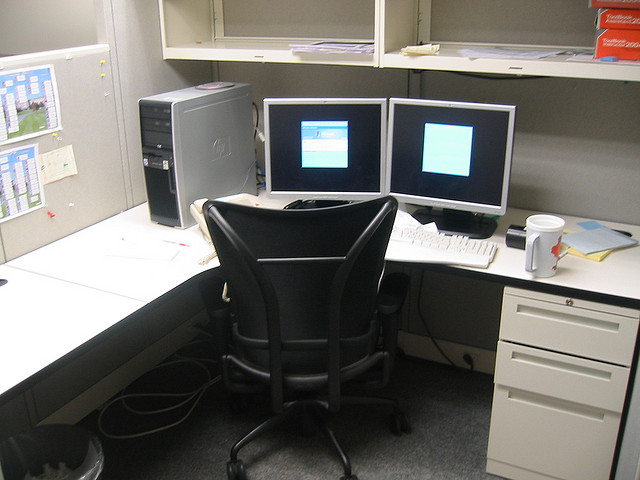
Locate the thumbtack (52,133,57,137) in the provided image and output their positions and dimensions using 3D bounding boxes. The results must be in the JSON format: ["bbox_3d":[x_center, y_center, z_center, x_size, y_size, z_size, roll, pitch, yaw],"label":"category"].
[{"bbox_3d":[-1.072,-0.426,2.136,0.018,0.017,0.004,3,4,-23],"label":"thumbtack"}]

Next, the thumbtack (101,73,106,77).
[{"bbox_3d":[-0.937,-0.714,2.284,0.006,0.021,0.025,7,8,33],"label":"thumbtack"}]

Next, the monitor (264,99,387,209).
[{"bbox_3d":[0.036,-0.402,2.331,0.487,0.457,0.149,0,13,1],"label":"monitor"}]

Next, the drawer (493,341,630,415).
[{"bbox_3d":[0.953,0.552,2.140,0.462,0.142,0.485,10,-3,15],"label":"drawer"}]

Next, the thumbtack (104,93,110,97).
[{"bbox_3d":[-0.934,-0.636,2.316,0.001,0.016,0.024,13,25,28],"label":"thumbtack"}]

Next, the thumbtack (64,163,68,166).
[{"bbox_3d":[-1.056,-0.314,2.197,0.012,0.013,0.003,-5,8,-11],"label":"thumbtack"}]

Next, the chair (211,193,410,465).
[{"bbox_3d":[0.038,0.331,2.070,0.743,1.078,0.698,-1,15,12],"label":"chair"}]

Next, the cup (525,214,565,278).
[{"bbox_3d":[0.792,0.040,1.924,0.118,0.210,0.193,18,35,41],"label":"cup"}]

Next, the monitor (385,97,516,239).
[{"bbox_3d":[0.535,-0.302,2.212,0.463,0.479,0.265,9,27,21],"label":"monitor"}]

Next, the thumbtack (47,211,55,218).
[{"bbox_3d":[-1.110,-0.106,2.179,0.023,0.025,0.006,-26,7,-27],"label":"thumbtack"}]

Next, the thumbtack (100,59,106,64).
[{"bbox_3d":[-0.936,-0.770,2.274,0.020,0.022,0.005,7,3,-19],"label":"thumbtack"}]
